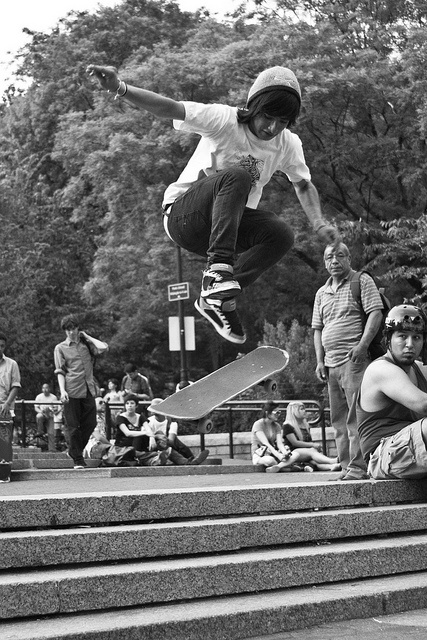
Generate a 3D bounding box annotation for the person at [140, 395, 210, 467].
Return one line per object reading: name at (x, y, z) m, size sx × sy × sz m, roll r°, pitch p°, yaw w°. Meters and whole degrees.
person at (-0.482, 1.338, 10.668) m, size 0.435 × 0.235 × 1.426 m, roll 1°, pitch 7°, yaw 18°

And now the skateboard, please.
skateboard at (0.061, 0.406, 6.038) m, size 1.149 × 0.162 × 0.361 m, roll -29°, pitch 27°, yaw -26°

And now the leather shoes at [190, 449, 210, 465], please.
leather shoes at (-0.179, 1.467, 10.258) m, size 0.185 × 0.146 × 0.343 m, roll -5°, pitch 1°, yaw -3°

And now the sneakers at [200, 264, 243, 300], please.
sneakers at (0.028, -0.209, 5.215) m, size 0.225 × 0.165 × 0.235 m, roll -5°, pitch 1°, yaw -2°

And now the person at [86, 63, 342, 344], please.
person at (0.098, -0.603, 5.398) m, size 1.129 × 1.304 × 1.569 m, roll -5°, pitch 1°, yaw 8°

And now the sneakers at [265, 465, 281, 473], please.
sneakers at (0.643, 1.659, 10.685) m, size 0.151 × 0.067 × 0.189 m, roll -5°, pitch 1°, yaw 1°

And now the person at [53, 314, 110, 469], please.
person at (-1.403, 0.733, 9.991) m, size 0.457 × 1.475 × 0.596 m, roll -4°, pitch 2°, yaw 33°

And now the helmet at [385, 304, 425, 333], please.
helmet at (1.177, -0.008, 5.895) m, size 0.215 × 0.155 × 0.159 m, roll 2°, pitch 13°, yaw 34°

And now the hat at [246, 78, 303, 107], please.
hat at (0.310, -1.241, 5.175) m, size 0.231 × 0.136 × 0.164 m, roll -8°, pitch -13°, yaw 28°

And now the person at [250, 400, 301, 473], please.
person at (0.684, 1.401, 11.276) m, size 0.738 × 0.891 × 0.672 m, roll -6°, pitch -8°, yaw 41°
